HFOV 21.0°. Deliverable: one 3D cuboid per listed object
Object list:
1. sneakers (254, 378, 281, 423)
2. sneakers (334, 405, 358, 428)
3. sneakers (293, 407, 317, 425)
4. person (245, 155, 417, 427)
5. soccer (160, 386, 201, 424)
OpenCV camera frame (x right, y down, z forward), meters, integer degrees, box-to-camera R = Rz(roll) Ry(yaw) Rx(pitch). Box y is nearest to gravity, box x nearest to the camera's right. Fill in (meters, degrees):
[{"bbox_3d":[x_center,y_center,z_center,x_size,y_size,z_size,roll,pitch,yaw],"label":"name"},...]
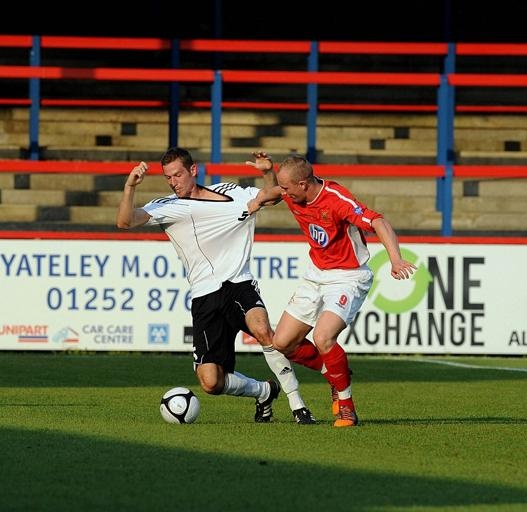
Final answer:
[{"bbox_3d":[0.039,1.497,14.222,0.251,0.497,0.166,9,1,-11],"label":"sneakers"},{"bbox_3d":[0.825,1.588,13.953,0.231,0.204,0.328,1,-4,4],"label":"sneakers"},{"bbox_3d":[0.417,1.597,14.088,0.233,0.167,0.295,1,-4,1],"label":"sneakers"},{"bbox_3d":[0.687,0.368,14.026,1.143,2.624,0.929,1,-3,1],"label":"person"},{"bbox_3d":[-0.825,1.491,14.031,0.380,0.354,0.175,2,-3,-5],"label":"soccer"}]
